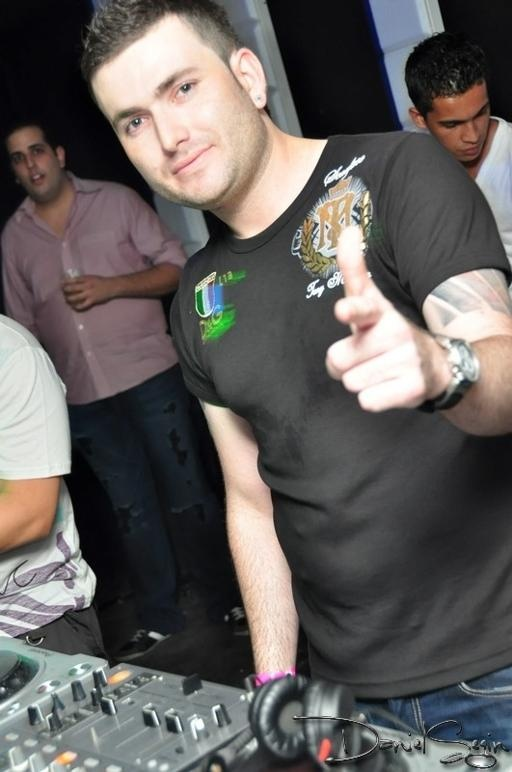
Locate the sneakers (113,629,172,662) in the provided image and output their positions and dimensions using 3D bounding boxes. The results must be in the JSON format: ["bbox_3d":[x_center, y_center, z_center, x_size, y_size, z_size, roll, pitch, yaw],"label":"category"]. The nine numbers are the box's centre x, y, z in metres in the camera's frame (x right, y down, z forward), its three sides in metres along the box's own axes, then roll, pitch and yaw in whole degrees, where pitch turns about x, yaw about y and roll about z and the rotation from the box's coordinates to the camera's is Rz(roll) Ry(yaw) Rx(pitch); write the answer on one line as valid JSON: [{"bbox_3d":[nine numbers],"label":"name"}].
[{"bbox_3d":[-0.521,1.150,2.828,0.081,0.083,0.221,-1,3,36],"label":"sneakers"}]
